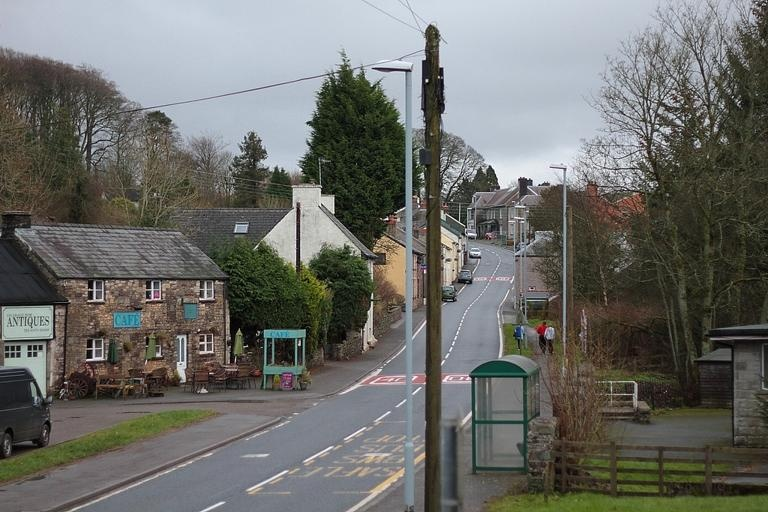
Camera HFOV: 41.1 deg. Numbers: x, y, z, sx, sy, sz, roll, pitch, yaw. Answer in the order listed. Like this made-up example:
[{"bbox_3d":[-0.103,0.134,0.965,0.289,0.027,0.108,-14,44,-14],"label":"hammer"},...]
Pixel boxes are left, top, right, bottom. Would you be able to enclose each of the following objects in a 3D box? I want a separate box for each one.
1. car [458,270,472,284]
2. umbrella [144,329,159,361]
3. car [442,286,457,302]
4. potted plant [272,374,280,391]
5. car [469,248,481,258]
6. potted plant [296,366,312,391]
[{"bbox_3d":[9.604,2.763,122.239,1.271,1.057,2.880,-1,-7,5],"label":"car"},{"bbox_3d":[-13.785,5.578,60.891,0.769,1.650,1.569,-1,6,-7],"label":"umbrella"},{"bbox_3d":[6.615,4.110,104.046,1.103,1.048,1.929,0,4,11],"label":"car"},{"bbox_3d":[-6.403,7.751,61.055,0.645,1.068,0.679,2,-2,5],"label":"potted plant"},{"bbox_3d":[13.508,-0.167,152.908,1.193,1.092,2.827,-1,-5,5],"label":"car"},{"bbox_3d":[-4.800,7.487,61.233,0.544,1.190,1.420,2,6,22],"label":"potted plant"}]
